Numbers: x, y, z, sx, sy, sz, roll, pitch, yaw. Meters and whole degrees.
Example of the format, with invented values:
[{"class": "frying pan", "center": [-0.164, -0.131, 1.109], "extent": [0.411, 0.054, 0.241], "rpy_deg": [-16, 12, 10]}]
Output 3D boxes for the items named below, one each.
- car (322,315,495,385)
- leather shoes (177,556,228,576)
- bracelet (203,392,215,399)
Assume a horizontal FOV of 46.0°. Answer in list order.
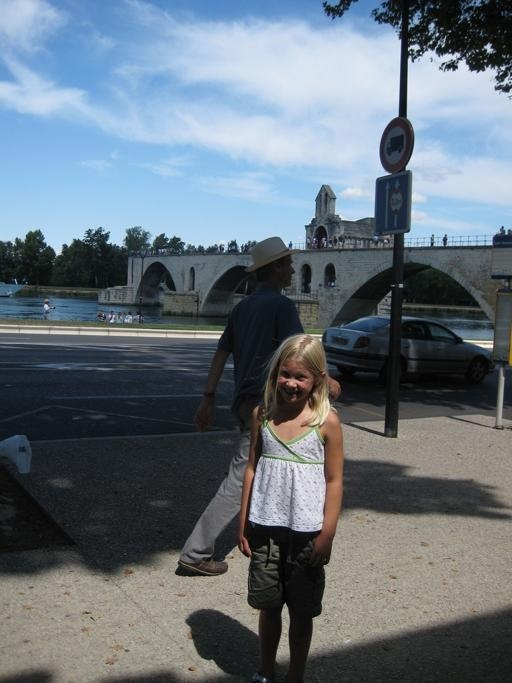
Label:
[{"class": "car", "center": [3.127, 0.193, 12.810], "extent": [3.205, 1.431, 1.687], "rpy_deg": [-2, 6, -33]}, {"class": "leather shoes", "center": [-0.260, 1.125, 3.037], "extent": [0.269, 0.106, 0.095], "rpy_deg": [0, 10, -15]}, {"class": "bracelet", "center": [-0.261, 0.295, 3.266], "extent": [0.045, 0.016, 0.042], "rpy_deg": [0, 10, -29]}]
